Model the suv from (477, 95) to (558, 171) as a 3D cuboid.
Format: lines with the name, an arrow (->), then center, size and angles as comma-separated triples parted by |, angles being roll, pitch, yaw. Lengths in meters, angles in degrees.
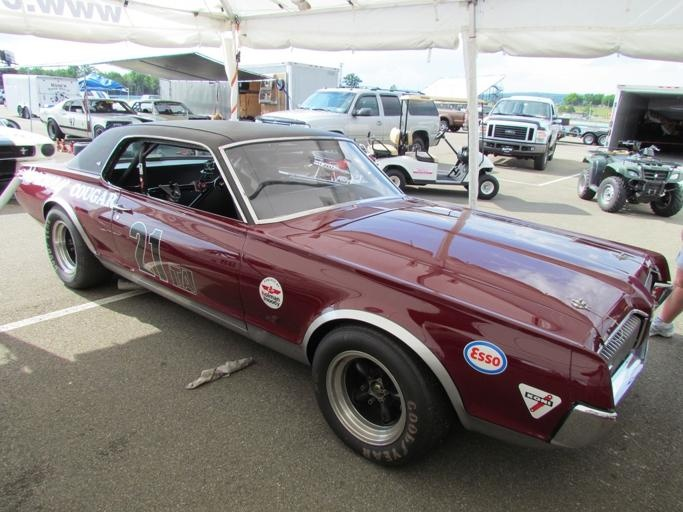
suv -> 6.154, -4.277, 15.183 | 2.765, 1.824, 4.709 | 14, 28, 30

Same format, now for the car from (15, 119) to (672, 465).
car -> -0.624, -0.200, 3.910 | 5.797, 1.933, 2.048 | 15, 25, 34
